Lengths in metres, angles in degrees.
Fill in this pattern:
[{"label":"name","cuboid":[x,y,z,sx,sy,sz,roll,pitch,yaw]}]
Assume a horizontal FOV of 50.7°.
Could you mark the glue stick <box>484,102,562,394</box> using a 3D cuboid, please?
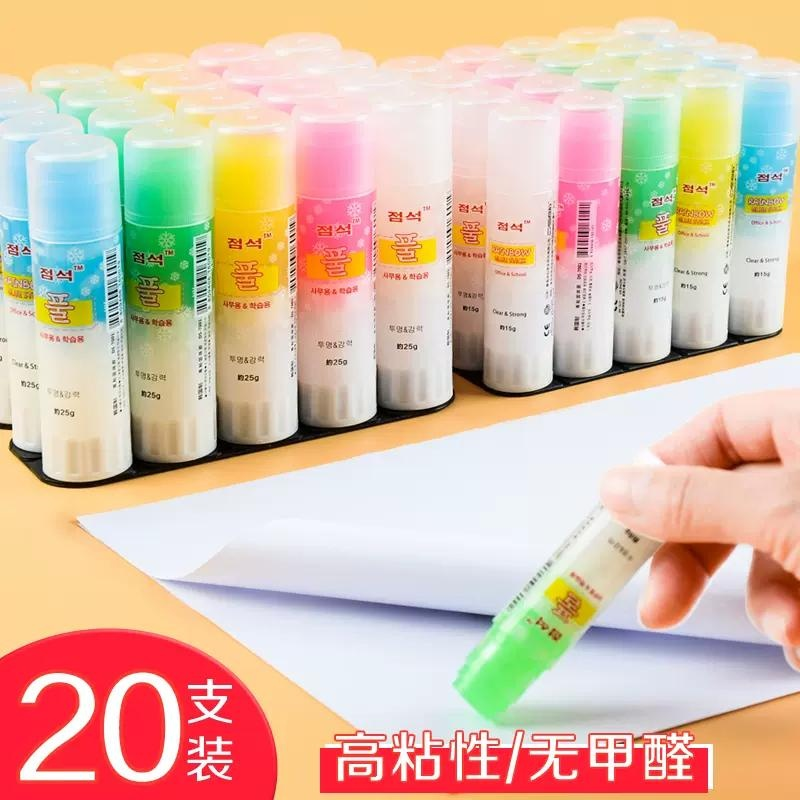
[{"label":"glue stick","cuboid":[0.100,-0.118,0.701,0.060,0.236,0.058,-1,12,4]}]
